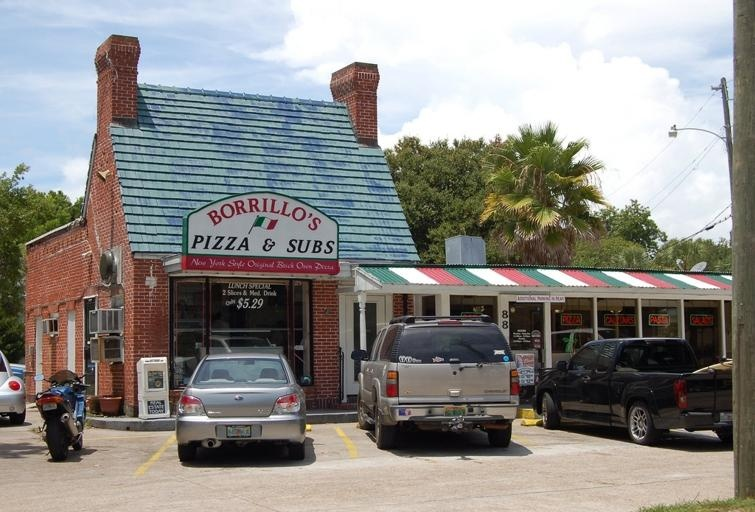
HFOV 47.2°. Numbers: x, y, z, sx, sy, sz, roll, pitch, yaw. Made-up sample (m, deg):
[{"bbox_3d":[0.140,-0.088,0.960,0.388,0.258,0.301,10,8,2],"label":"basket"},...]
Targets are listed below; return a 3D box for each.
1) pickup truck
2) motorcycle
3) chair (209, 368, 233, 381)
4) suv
[{"bbox_3d":[5.938,3.076,19.777,1.953,1.369,3.695,4,-3,-25],"label":"pickup truck"},{"bbox_3d":[-6.627,3.336,18.128,0.772,1.705,1.490,0,-1,-13],"label":"motorcycle"},{"bbox_3d":[-3.143,2.361,17.395,0.250,0.251,0.255,-1,-4,22],"label":"chair"},{"bbox_3d":[1.168,2.615,19.330,2.160,1.751,3.542,1,-2,-10],"label":"suv"}]
